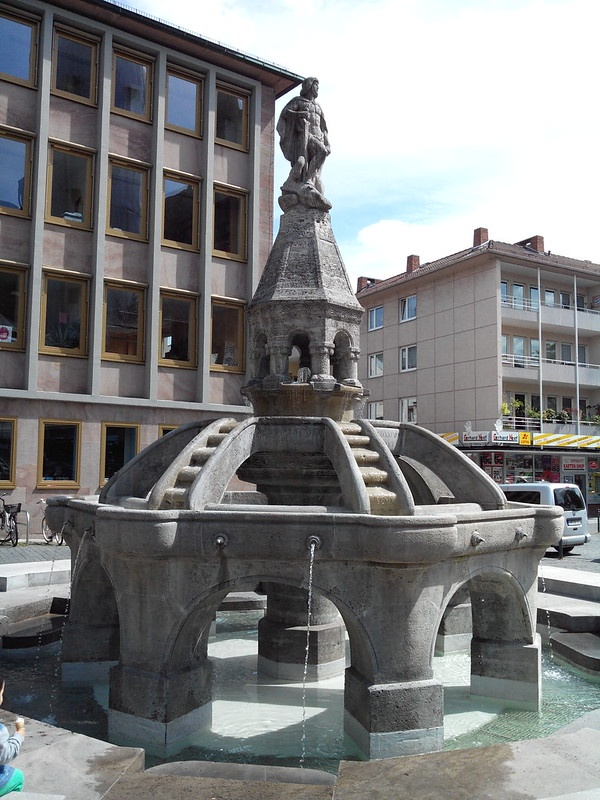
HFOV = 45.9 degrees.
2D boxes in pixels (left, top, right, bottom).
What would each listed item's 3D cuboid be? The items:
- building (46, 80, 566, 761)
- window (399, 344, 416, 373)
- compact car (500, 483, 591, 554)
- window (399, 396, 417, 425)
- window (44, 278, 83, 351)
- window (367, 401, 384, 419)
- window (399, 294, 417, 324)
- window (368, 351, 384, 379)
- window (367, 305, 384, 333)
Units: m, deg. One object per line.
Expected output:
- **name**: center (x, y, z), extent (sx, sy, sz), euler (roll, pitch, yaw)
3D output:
- **building**: center (0.193, -0.083, 9.224), extent (6.037, 7.385, 6.024), euler (-1, -2, -5)
- **window**: center (6.138, -2.329, 40.259), extent (0.101, 1.414, 1.425), euler (4, -13, -27)
- **compact car**: center (7.007, 3.783, 22.812), extent (2.024, 2.042, 4.115), euler (6, -9, -35)
- **window**: center (5.713, 0.522, 37.302), extent (0.115, 1.258, 1.451), euler (5, 1, -28)
- **window**: center (-7.088, -2.561, 21.291), extent (1.531, 2.846, 0.233), euler (3, -25, -19)
- **window**: center (4.605, 0.624, 43.067), extent (0.175, 1.250, 1.093), euler (-7, 6, -28)
- **window**: center (6.187, -5.221, 40.557), extent (0.144, 1.850, 1.848), euler (0, 0, -22)
- **window**: center (4.603, -2.114, 42.915), extent (0.118, 1.740, 1.495), euler (3, -8, -32)
- **window**: center (4.619, -4.928, 43.154), extent (0.119, 1.749, 1.509), euler (6, -16, -24)
